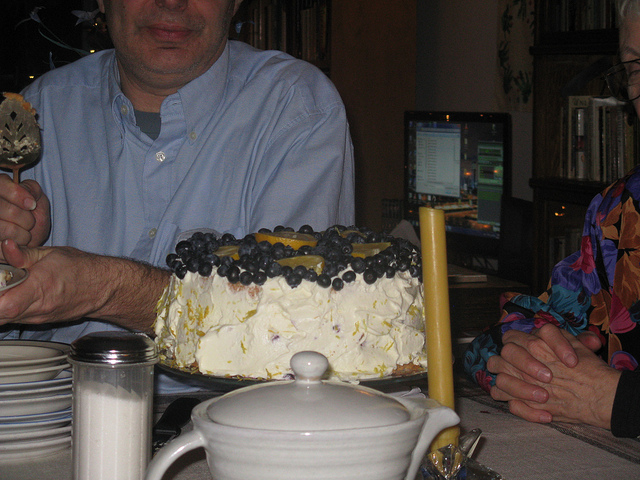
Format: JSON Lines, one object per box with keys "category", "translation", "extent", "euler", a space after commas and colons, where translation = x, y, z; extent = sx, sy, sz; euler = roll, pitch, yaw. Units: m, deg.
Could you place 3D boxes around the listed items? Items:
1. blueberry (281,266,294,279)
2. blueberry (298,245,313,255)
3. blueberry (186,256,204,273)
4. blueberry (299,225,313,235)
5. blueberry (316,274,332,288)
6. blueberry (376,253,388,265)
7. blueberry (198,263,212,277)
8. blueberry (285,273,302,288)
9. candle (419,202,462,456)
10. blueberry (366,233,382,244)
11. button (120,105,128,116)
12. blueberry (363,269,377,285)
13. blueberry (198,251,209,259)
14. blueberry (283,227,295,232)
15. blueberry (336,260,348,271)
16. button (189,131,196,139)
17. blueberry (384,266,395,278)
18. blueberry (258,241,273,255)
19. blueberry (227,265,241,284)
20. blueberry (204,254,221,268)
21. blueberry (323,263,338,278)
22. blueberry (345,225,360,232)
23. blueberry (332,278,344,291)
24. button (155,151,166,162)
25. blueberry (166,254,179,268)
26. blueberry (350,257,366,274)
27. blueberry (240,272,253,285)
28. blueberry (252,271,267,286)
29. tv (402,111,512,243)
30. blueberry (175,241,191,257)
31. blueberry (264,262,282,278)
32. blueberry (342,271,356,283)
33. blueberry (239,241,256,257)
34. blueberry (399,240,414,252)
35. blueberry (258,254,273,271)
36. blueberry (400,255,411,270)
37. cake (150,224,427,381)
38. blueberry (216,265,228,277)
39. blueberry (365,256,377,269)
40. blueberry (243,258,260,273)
{"category": "blueberry", "translation": [-0.054, 0.052, 1.068], "extent": [0.016, 0.010, 0.016], "euler": [11, 8, 40]}
{"category": "blueberry", "translation": [-0.026, 0.016, 1.095], "extent": [0.023, 0.016, 0.013], "euler": [2, -2, -12]}
{"category": "blueberry", "translation": [-0.216, 0.040, 1.115], "extent": [0.025, 0.009, 0.026], "euler": [4, 47, -5]}
{"category": "blueberry", "translation": [-0.026, -0.022, 1.208], "extent": [0.018, 0.014, 0.018], "euler": [10, 14, 15]}
{"category": "blueberry", "translation": [0.005, 0.065, 1.064], "extent": [0.020, 0.024, 0.020], "euler": [-1, 9, 8]}
{"category": "blueberry", "translation": [0.104, 0.033, 1.101], "extent": [0.017, 0.008, 0.017], "euler": [35, 9, 14]}
{"category": "blueberry", "translation": [-0.193, 0.050, 1.093], "extent": [0.022, 0.023, 0.015], "euler": [2, -2, 0]}
{"category": "blueberry", "translation": [-0.044, 0.064, 1.058], "extent": [0.021, 0.021, 0.013], "euler": [39, -17, 12]}
{"category": "candle", "translation": [0.159, 0.094, 0.890], "extent": [0.042, 0.271, 0.092], "euler": [1, -2, 19]}
{"category": "blueberry", "translation": [0.095, -0.003, 1.177], "extent": [0.019, 0.012, 0.020], "euler": [-5, 14, -20]}
{"category": "button", "translation": [-0.534, -0.350, 1.769], "extent": [0.030, 0.029, 0.005], "euler": [0, -2, 41]}
{"category": "blueberry", "translation": [0.083, 0.061, 1.086], "extent": [0.023, 0.024, 0.012], "euler": [2, -2, -6]}
{"category": "blueberry", "translation": [-0.203, 0.025, 1.124], "extent": [0.011, 0.004, 0.011], "euler": [-14, 19, 12]}
{"category": "blueberry", "translation": [-0.061, -0.019, 1.214], "extent": [0.013, 0.007, 0.013], "euler": [1, -1, 10]}
{"category": "blueberry", "translation": [0.035, 0.042, 1.083], "extent": [0.015, 0.017, 0.007], "euler": [28, 24, -9]}
{"category": "button", "translation": [-0.349, -0.283, 1.769], "extent": [0.020, 0.021, 0.005], "euler": [3, -8, -18]}
{"category": "blueberry", "translation": [0.117, 0.054, 1.102], "extent": [0.014, 0.016, 0.018], "euler": [3, 18, -10]}
{"category": "blueberry", "translation": [-0.091, 0.010, 1.101], "extent": [0.021, 0.021, 0.021], "euler": [19, 20, 18]}
{"category": "blueberry", "translation": [-0.144, 0.056, 1.073], "extent": [0.023, 0.029, 0.024], "euler": [0, 17, -27]}
{"category": "blueberry", "translation": [-0.180, 0.034, 1.094], "extent": [0.021, 0.012, 0.021], "euler": [-7, 22, -36]}
{"category": "blueberry", "translation": [0.016, 0.050, 1.077], "extent": [0.024, 0.022, 0.011], "euler": [2, -2, -2]}
{"category": "blueberry", "translation": [0.062, -0.024, 1.317], "extent": [0.026, 0.011, 0.033], "euler": [1, -2, 3]}
{"category": "blueberry", "translation": [0.028, 0.072, 1.068], "extent": [0.017, 0.020, 0.017], "euler": [1, 14, 3]}
{"category": "button", "translation": [-0.433, -0.223, 1.750], "extent": [0.027, 0.028, 0.010], "euler": [-1, 0, -13]}
{"category": "blueberry", "translation": [-0.266, 0.035, 1.164], "extent": [0.011, 0.021, 0.021], "euler": [26, 41, 19]}
{"category": "blueberry", "translation": [0.062, 0.042, 1.080], "extent": [0.020, 0.026, 0.024], "euler": [-4, -5, -4]}
{"category": "blueberry", "translation": [-0.123, 0.063, 1.074], "extent": [0.021, 0.020, 0.013], "euler": [2, -2, -12]}
{"category": "blueberry", "translation": [-0.099, 0.062, 1.064], "extent": [0.021, 0.021, 0.011], "euler": [48, -2, 7]}
{"category": "tv", "translation": [0.749, -0.339, 3.558], "extent": [0.075, 0.720, 0.823], "euler": [-9, 16, -31]}
{"category": "blueberry", "translation": [-0.244, 0.016, 1.150], "extent": [0.024, 0.018, 0.025], "euler": [-3, 1, 3]}
{"category": "blueberry", "translation": [-0.079, 0.048, 1.067], "extent": [0.023, 0.024, 0.012], "euler": [21, -22, 2]}
{"category": "blueberry", "translation": [0.048, 0.059, 1.077], "extent": [0.019, 0.015, 0.015], "euler": [-3, -7, -6]}
{"category": "blueberry", "translation": [-0.119, 0.014, 1.093], "extent": [0.022, 0.012, 0.022], "euler": [-8, 51, -27]}
{"category": "blueberry", "translation": [0.156, 0.009, 1.188], "extent": [0.020, 0.008, 0.020], "euler": [2, 21, -28]}
{"category": "blueberry", "translation": [-0.092, 0.037, 1.074], "extent": [0.023, 0.027, 0.023], "euler": [1, 7, 8]}
{"category": "blueberry", "translation": [0.146, 0.036, 1.148], "extent": [0.021, 0.011, 0.021], "euler": [36, -5, 41]}
{"category": "cake", "translation": [-0.129, 0.094, 1.297], "extent": [0.504, 0.187, 0.534], "euler": [10, 8, 13]}
{"category": "blueberry", "translation": [-0.163, 0.051, 1.081], "extent": [0.014, 0.020, 0.019], "euler": [2, -2, -21]}
{"category": "blueberry", "translation": [0.084, 0.038, 1.093], "extent": [0.017, 0.021, 0.018], "euler": [-1, 0, 4]}
{"category": "blueberry", "translation": [-0.115, 0.042, 1.078], "extent": [0.027, 0.024, 0.021], "euler": [2, -2, -8]}
